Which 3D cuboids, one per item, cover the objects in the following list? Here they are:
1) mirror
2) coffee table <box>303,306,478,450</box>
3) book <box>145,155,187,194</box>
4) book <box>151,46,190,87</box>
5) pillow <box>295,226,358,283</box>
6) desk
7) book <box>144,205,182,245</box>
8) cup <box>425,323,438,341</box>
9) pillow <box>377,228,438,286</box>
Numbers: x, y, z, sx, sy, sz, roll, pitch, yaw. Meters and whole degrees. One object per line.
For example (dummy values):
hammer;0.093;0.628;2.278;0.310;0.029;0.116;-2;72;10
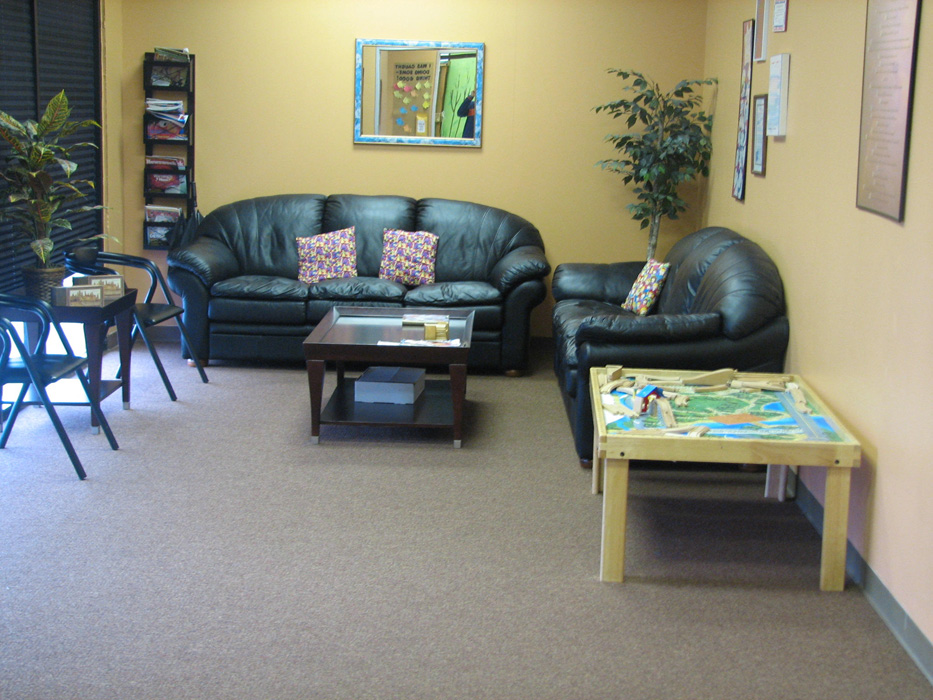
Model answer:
mirror;-0.383;-2.231;6.497;0.770;0.683;0.039;1;8;-1
coffee table;-0.458;0.093;4.915;0.967;0.637;1.228;2;18;-1
book;-2.585;-1.508;6.520;0.267;0.285;0.150;2;19;-5
book;-2.482;-2.362;6.378;0.269;0.279;0.157;2;18;-6
pillow;-1.140;-0.760;6.227;0.412;0.444;0.147;-3;-12;0
desk;1.081;0.342;3.350;0.806;0.581;1.140;1;13;6
book;-2.614;-1.079;6.558;0.309;0.336;0.159;1;3;-5
cup;-0.210;-0.115;4.648;0.083;0.126;0.088;1;18;0
pillow;-0.473;-0.742;6.224;0.408;0.461;0.157;5;-8;3
